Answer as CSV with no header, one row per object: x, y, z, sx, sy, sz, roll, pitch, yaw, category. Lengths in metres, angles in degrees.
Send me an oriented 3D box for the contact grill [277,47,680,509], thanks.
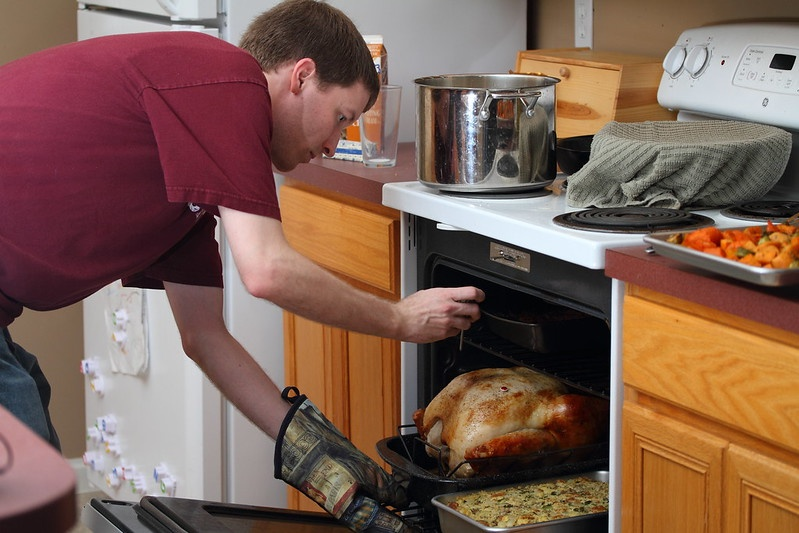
0.260,-0.142,1.956,0.524,1.281,0.819,4,8,34,contact grill

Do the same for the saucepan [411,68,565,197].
0.210,-0.330,1.646,0.269,0.314,0.314,11,23,34,saucepan
